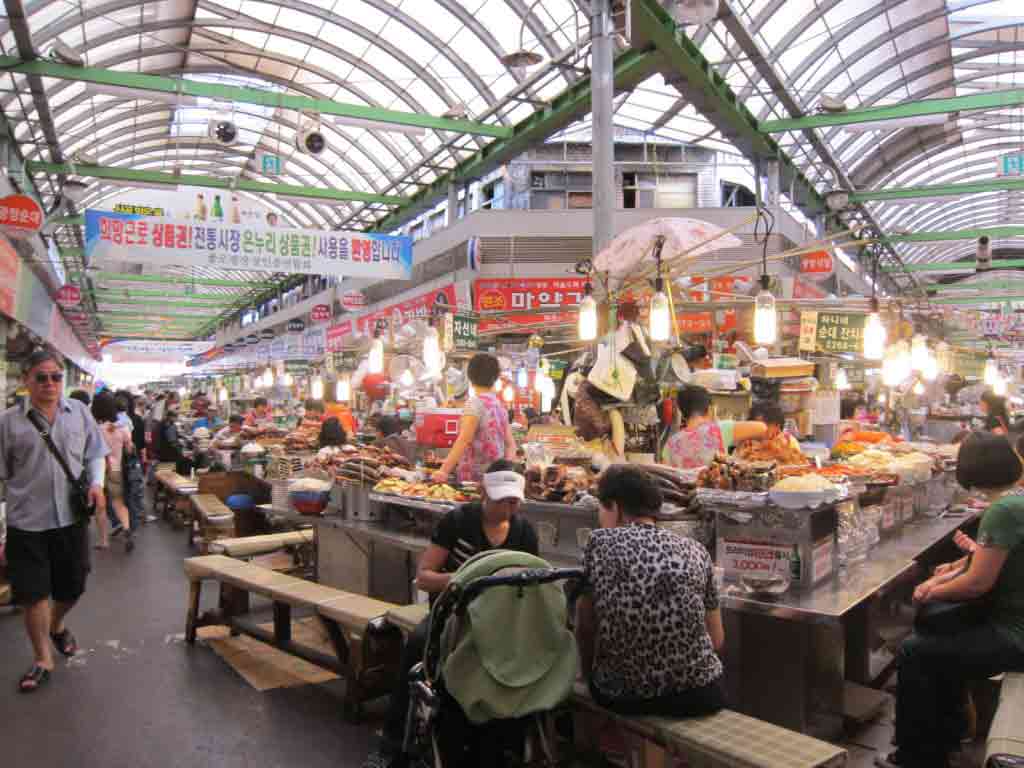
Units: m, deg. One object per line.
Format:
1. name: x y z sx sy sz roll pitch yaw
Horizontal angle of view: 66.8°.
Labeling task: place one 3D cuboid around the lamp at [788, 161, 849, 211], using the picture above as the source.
1. lamp: 7.084 -4.697 18.051 0.703 1.119 1.746 -26 22 -36

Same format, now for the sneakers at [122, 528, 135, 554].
1. sneakers: -4.817 1.969 9.778 0.144 0.397 0.180 -5 21 -30

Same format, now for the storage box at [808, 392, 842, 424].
1. storage box: 4.111 0.317 10.287 0.473 0.424 0.249 0 -2 -35

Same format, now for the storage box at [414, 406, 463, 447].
1. storage box: -0.760 0.438 7.985 0.443 0.309 0.428 1 -2 -4

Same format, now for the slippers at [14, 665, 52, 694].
1. slippers: -3.561 2.180 5.788 0.111 0.111 0.261 2 -7 -3

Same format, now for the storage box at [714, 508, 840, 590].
1. storage box: 1.494 1.028 4.895 0.736 0.439 0.702 0 -10 14

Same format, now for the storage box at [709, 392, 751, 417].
1. storage box: 2.385 0.183 8.546 0.560 0.350 0.305 1 2 24

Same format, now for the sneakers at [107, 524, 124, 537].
1. sneakers: -5.542 2.044 10.877 0.151 0.140 0.340 5 -5 -33

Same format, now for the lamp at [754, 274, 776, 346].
1. lamp: 2.275 -0.698 6.973 0.183 0.645 0.780 1 2 17

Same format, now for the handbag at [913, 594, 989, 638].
1. handbag: 2.612 1.386 4.644 0.241 0.123 0.324 -9 -9 -26

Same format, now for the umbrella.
1. umbrella: 1.289 -0.942 6.973 1.084 1.117 1.224 1 2 -2

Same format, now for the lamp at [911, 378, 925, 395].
1. lamp: 7.162 0.028 13.745 0.292 0.365 0.288 2 5 23

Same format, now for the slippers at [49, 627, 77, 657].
1. slippers: -3.676 2.108 6.378 0.133 0.109 0.382 5 -1 -43

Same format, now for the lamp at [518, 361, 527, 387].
1. lamp: 0.212 -0.148 17.266 0.270 0.372 0.089 3 -2 11

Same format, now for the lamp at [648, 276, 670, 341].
1. lamp: 1.276 -0.655 6.724 0.157 0.571 0.349 1 2 8

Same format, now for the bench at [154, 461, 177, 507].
1. bench: -5.981 1.751 13.418 0.265 0.392 0.826 0 1 -19
